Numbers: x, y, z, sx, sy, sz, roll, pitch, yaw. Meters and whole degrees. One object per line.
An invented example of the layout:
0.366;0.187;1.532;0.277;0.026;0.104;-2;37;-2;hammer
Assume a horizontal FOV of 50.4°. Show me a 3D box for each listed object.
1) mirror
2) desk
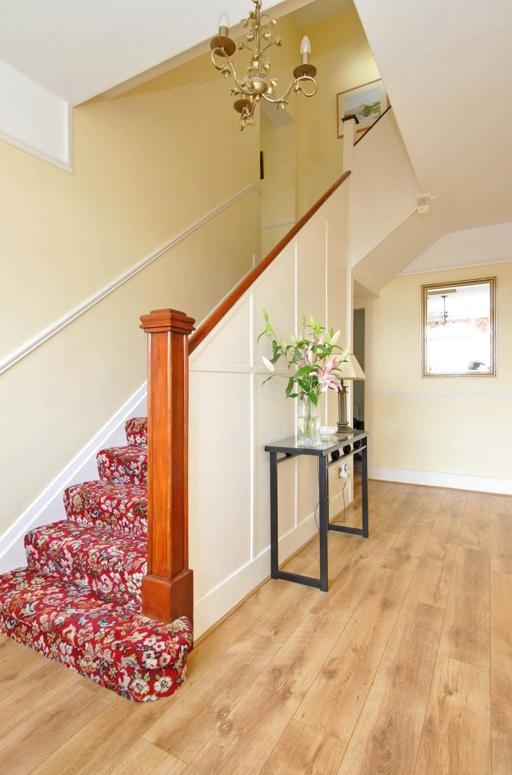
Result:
1.751;-0.521;4.664;0.733;1.178;0.048;-1;-3;36;mirror
0.361;0.610;2.930;0.320;0.715;0.729;2;7;27;desk
